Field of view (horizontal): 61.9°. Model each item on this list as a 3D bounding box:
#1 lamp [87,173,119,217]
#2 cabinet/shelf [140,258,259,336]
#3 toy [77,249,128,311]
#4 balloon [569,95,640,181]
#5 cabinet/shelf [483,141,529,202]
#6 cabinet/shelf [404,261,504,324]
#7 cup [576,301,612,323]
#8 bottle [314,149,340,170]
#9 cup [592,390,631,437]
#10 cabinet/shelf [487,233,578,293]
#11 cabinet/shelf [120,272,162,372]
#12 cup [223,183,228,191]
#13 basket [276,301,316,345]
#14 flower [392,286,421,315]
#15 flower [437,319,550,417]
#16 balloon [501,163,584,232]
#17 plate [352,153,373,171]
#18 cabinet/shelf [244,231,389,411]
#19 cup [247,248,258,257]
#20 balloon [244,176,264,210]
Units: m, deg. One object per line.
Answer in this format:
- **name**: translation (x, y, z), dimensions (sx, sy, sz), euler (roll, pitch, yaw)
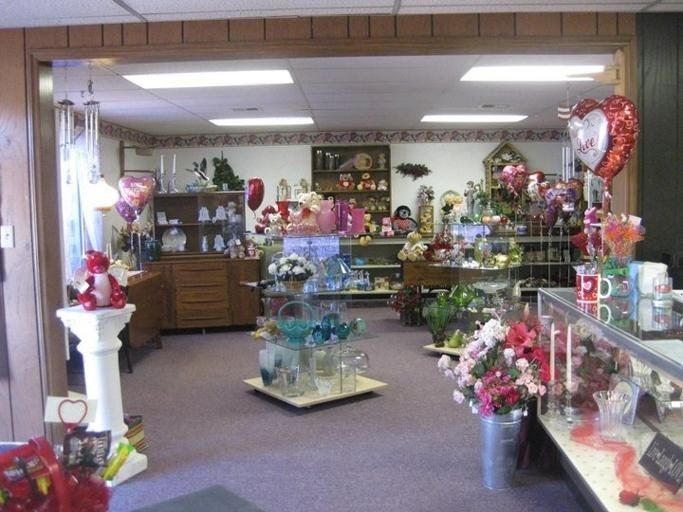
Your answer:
- **lamp**: translation (-2.127, -0.564, 5.130), dimensions (0.340, 0.323, 0.339), euler (-8, 6, -37)
- **cabinet/shelf**: translation (-1.861, 0.478, 7.778), dimensions (1.406, 0.958, 0.554), euler (-2, 9, -4)
- **toy**: translation (-1.694, 0.190, 4.102), dimensions (0.335, 0.394, 0.304), euler (-2, 8, -5)
- **balloon**: translation (1.718, -0.779, 3.789), dimensions (0.240, 0.553, 0.444), euler (-3, 8, -17)
- **cabinet/shelf**: translation (2.772, -1.415, 9.622), dimensions (0.663, 1.023, 0.305), euler (-1, 0, 12)
- **cabinet/shelf**: translation (1.323, 0.310, 7.426), dimensions (0.873, 0.635, 2.344), euler (-2, 8, -8)
- **cup**: translation (1.438, 0.314, 3.204), dimensions (0.072, 0.088, 0.124), euler (-7, 12, -33)
- **bottle**: translation (-0.241, -1.563, 9.378), dimensions (0.379, 0.313, 0.326), euler (1, 3, -2)
- **cup**: translation (1.540, 0.924, 3.295), dimensions (0.249, 0.273, 0.261), euler (7, -15, 2)
- **cabinet/shelf**: translation (3.145, 0.129, 8.683), dimensions (1.003, 0.912, 0.462), euler (-1, 7, 2)
- **cabinet/shelf**: translation (-2.173, 0.725, 6.150), dimensions (0.319, 0.674, 1.012), euler (1, 5, -1)
- **cup**: translation (-1.627, -0.970, 7.995), dimensions (0.094, 0.100, 0.435), euler (-3, 8, -11)
- **basket**: translation (-0.390, 0.561, 5.015), dimensions (0.336, 0.402, 0.343), euler (1, 4, -3)
- **flower**: translation (0.885, 0.575, 7.932), dimensions (0.347, 0.347, 0.370), euler (-4, 12, -14)
- **flower**: translation (0.964, 0.663, 3.763), dimensions (0.547, 0.644, 0.645), euler (-3, 3, -5)
- **balloon**: translation (2.311, -0.691, 6.596), dimensions (1.064, 0.865, 1.310), euler (3, 7, 21)
- **plate**: translation (0.350, -1.568, 9.458), dimensions (0.311, 0.278, 0.158), euler (-2, 7, -8)
- **cabinet/shelf**: translation (-0.308, 0.490, 5.811), dimensions (1.378, 1.761, 1.397), euler (-4, 8, -35)
- **cup**: translation (-1.225, -0.054, 7.874), dimensions (0.106, 0.112, 0.113), euler (0, 3, 0)
- **balloon**: translation (-0.858, -0.633, 5.746), dimensions (0.173, 0.368, 0.196), euler (3, 6, -17)
